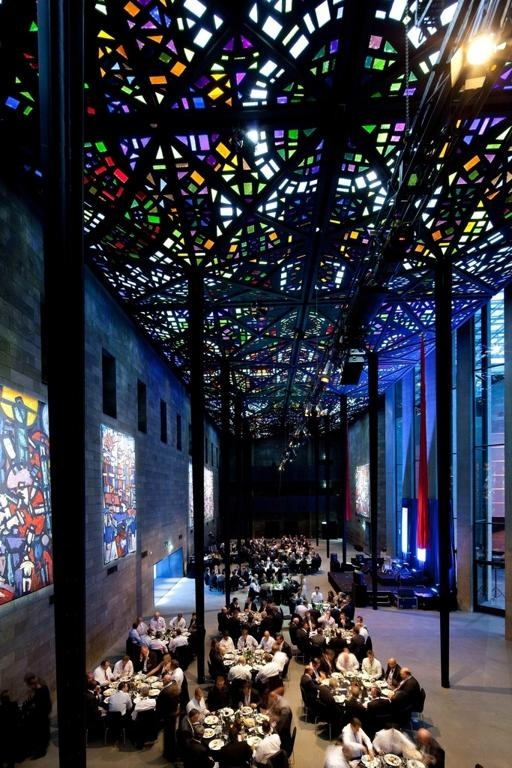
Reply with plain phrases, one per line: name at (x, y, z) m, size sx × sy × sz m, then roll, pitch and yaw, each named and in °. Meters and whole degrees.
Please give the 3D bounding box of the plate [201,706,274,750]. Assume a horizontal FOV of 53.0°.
plate at (-0.269, 4.897, 7.396) m, size 0.968 × 0.200 × 1.327 m, roll 1°, pitch -14°, yaw -6°

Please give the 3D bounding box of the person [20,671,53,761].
person at (-3.094, 4.723, 7.295) m, size 0.395 × 1.093 × 0.357 m, roll 6°, pitch -13°, yaw -30°
